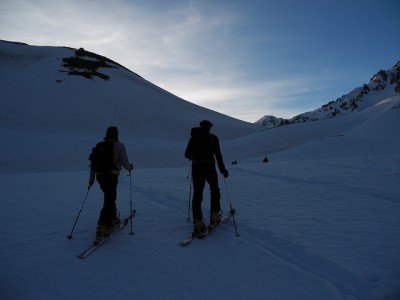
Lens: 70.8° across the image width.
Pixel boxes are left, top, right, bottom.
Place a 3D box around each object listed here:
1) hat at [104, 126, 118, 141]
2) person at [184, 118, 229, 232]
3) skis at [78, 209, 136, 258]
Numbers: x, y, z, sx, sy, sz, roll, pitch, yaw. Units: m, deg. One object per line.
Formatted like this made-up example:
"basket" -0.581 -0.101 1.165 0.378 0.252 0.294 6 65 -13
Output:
"hat" -2.598 -0.464 8.410 0.429 0.390 0.460 2 -10 -36
"person" 0.169 0.751 8.433 1.064 3.219 0.898 -4 1 -31
"skis" -2.592 2.404 8.388 0.316 0.194 2.534 5 11 13
